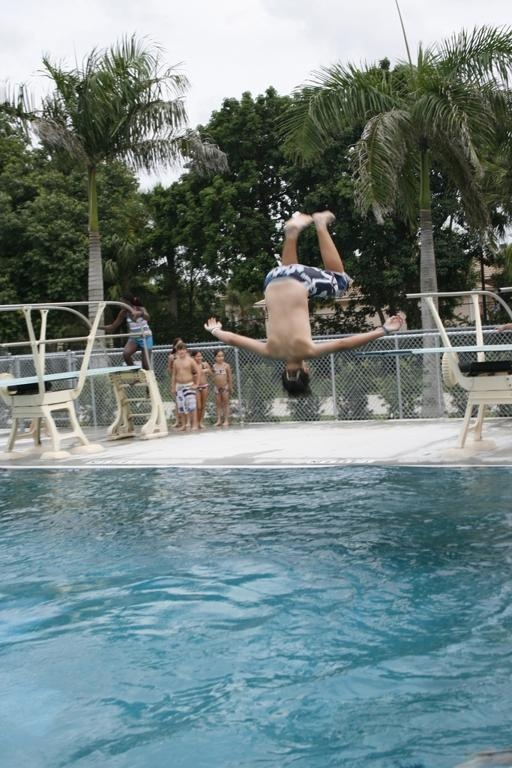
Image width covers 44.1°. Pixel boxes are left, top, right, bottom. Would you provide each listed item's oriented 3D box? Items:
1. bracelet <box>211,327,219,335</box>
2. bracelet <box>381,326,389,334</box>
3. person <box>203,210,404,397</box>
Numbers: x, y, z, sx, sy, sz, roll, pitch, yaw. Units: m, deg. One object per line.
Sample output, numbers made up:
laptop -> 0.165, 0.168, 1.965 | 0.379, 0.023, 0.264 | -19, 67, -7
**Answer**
bracelet -> -0.380, -0.488, 5.794 | 0.065, 0.034, 0.089 | -6, 2, 13
bracelet -> 1.062, -0.446, 5.187 | 0.045, 0.059, 0.016 | -2, 30, 15
person -> 0.392, -0.680, 5.328 | 1.118, 1.635, 1.111 | -7, 4, -35
